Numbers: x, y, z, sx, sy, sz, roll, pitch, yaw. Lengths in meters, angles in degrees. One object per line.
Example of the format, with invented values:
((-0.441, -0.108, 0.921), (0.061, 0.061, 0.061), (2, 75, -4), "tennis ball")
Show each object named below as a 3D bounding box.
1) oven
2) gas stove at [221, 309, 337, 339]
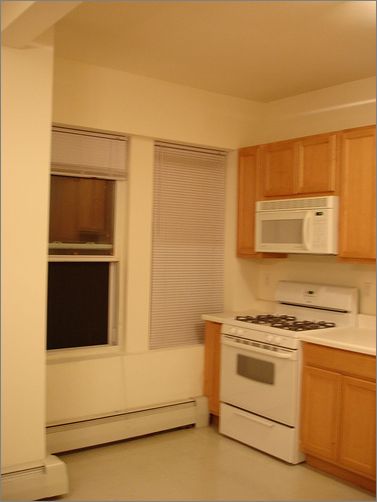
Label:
((0.608, 1.003, 2.955), (0.569, 0.837, 0.663), (6, -3, -43), "oven")
((0.708, 0.539, 2.951), (0.592, 0.113, 0.714), (7, -8, -38), "gas stove")
